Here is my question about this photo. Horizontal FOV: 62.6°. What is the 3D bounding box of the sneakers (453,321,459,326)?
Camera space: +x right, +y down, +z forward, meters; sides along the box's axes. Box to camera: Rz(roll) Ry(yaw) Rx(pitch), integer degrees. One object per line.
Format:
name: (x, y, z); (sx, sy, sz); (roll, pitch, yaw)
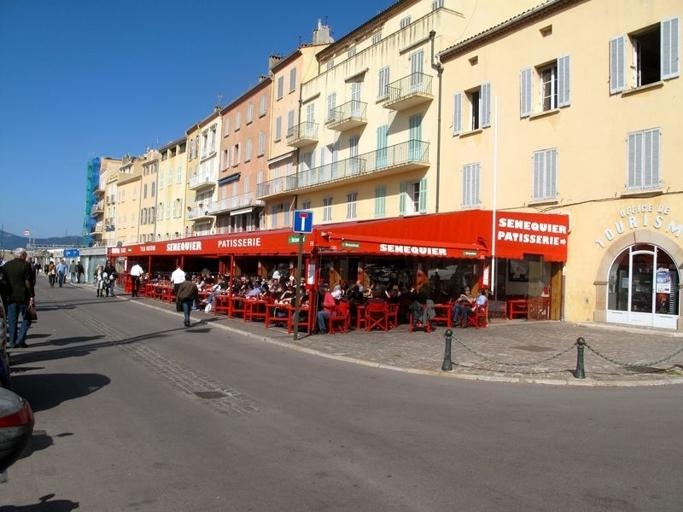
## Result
sneakers: (3.758, 2.203, 18.408); (0.310, 0.145, 0.233); (4, -9, -11)

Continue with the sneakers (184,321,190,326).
sneakers: (-4.622, 2.014, 16.879); (0.107, 0.144, 0.152); (0, -5, -8)

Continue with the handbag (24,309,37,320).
handbag: (-6.621, 1.234, 11.949); (0.261, 0.286, 0.112); (2, 12, 14)
